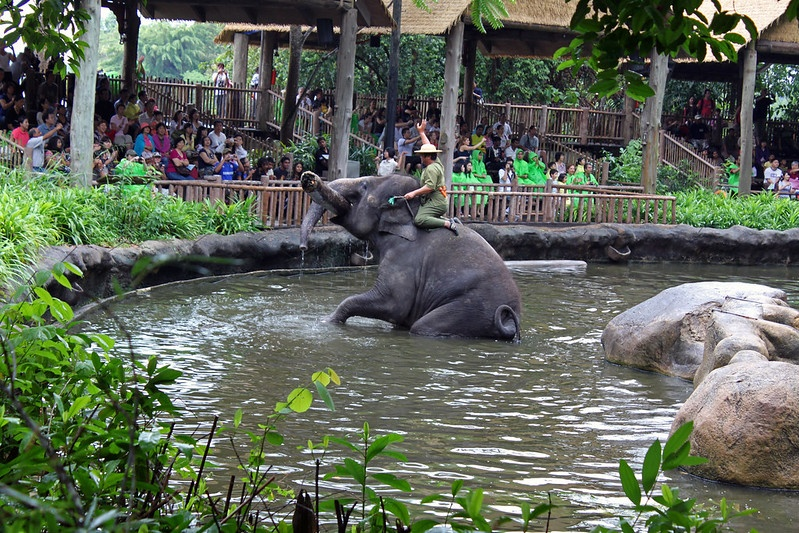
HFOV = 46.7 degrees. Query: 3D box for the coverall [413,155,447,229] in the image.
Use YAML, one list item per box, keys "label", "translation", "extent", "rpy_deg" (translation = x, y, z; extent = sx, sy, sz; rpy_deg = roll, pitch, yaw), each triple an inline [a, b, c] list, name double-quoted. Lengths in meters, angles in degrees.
- label: "coverall"
  translation: [0.339, -0.885, 11.660]
  extent: [0.518, 0.928, 0.503]
  rpy_deg: [1, -9, -17]
